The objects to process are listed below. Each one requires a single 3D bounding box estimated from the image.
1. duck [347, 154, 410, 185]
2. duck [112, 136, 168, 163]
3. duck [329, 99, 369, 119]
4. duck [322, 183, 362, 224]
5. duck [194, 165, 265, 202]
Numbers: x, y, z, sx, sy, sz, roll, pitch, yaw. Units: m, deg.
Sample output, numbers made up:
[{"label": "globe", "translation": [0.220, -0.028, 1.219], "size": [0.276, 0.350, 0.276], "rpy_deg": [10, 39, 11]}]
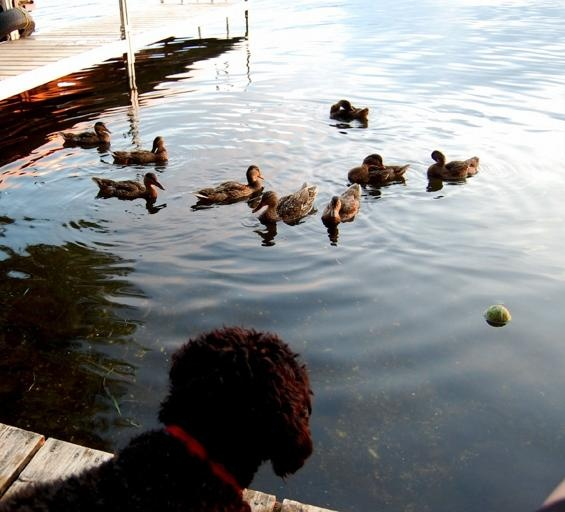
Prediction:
[{"label": "duck", "translation": [1.700, -1.554, 10.035], "size": [1.104, 0.459, 0.620], "rpy_deg": [1, -3, -4]}, {"label": "duck", "translation": [-2.806, -2.036, 10.592], "size": [1.005, 0.477, 0.395], "rpy_deg": [-9, 34, -11]}, {"label": "duck", "translation": [1.479, -3.465, 13.023], "size": [0.970, 0.359, 0.502], "rpy_deg": [17, 7, 30]}, {"label": "duck", "translation": [1.007, -0.799, 8.753], "size": [0.479, 0.530, 0.810], "rpy_deg": [23, 59, 19]}, {"label": "duck", "translation": [-0.928, -1.234, 9.473], "size": [1.593, 0.506, 0.524], "rpy_deg": [-15, 36, -38]}]
